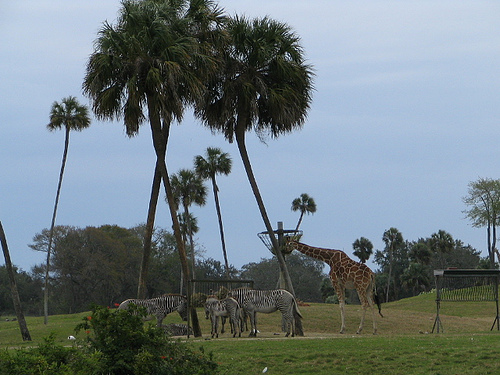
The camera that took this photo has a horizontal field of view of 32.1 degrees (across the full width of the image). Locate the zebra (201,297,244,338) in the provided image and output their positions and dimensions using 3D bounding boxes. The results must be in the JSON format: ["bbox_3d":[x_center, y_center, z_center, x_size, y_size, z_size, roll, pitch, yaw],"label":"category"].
[{"bbox_3d":[-1.413,6.865,45.734,1.973,2.088,1.489,0,-7,-3],"label":"zebra"}]
